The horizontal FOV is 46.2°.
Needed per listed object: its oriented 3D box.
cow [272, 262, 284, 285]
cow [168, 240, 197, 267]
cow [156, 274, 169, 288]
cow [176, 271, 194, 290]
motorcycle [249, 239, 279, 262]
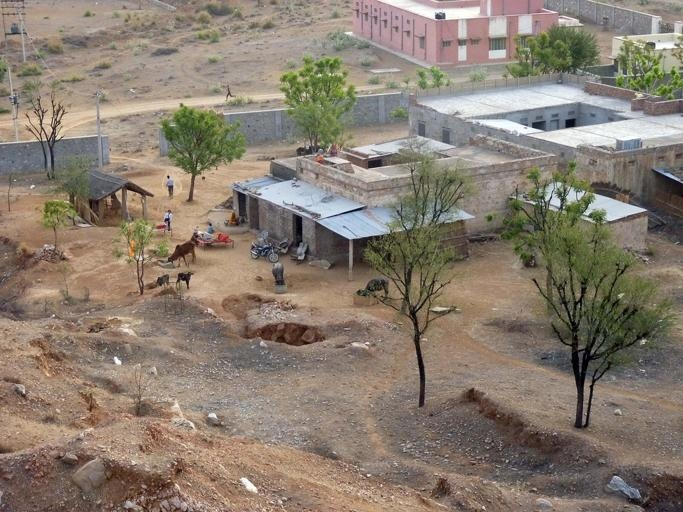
[{"bbox_3d":[-3.470,0.998,44.062,0.607,1.162,0.721,-3,16,-5],"label":"cow"},{"bbox_3d":[-9.511,-0.241,47.662,1.497,1.391,1.651,0,16,4],"label":"cow"},{"bbox_3d":[-9.835,1.386,43.851,0.638,0.717,0.929,-6,17,-17],"label":"cow"},{"bbox_3d":[-8.843,1.177,44.622,0.783,0.920,2.202,-4,16,-8],"label":"cow"},{"bbox_3d":[-4.627,-0.388,48.934,2.122,1.248,0.914,12,16,23],"label":"motorcycle"}]
